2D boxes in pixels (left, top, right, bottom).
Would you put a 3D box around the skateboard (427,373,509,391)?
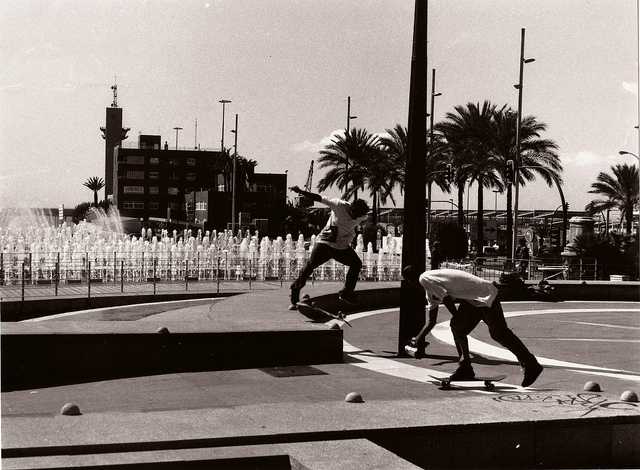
[{"bbox_3d":[2.215,2.119,13.994,1.310,0.258,0.373,-1,2,-3],"label":"skateboard"}]
